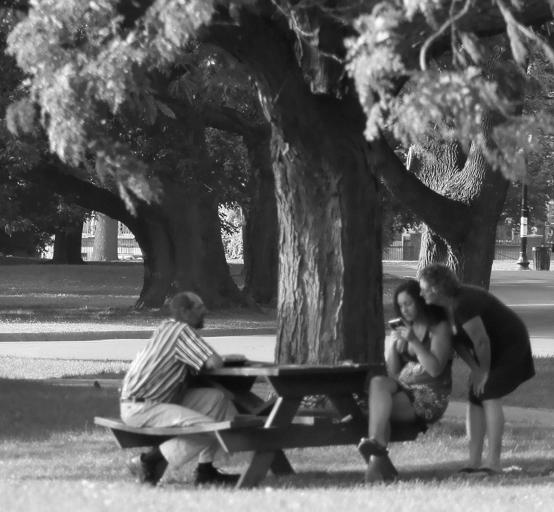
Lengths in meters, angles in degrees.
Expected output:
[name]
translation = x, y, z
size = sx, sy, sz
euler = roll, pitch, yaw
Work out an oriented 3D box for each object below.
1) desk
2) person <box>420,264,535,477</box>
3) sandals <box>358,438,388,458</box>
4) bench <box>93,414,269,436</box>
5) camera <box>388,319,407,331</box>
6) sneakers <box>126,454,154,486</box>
[desk]
translation = 0.119, 1.116, 10.008
size = 0.910, 0.779, 0.882
euler = 0, 0, -35
[person]
translation = 1.500, 0.831, 9.987
size = 0.853, 1.554, 0.514
euler = 0, 2, 8
[sandals]
translation = 0.705, 1.378, 9.700
size = 0.213, 0.174, 0.287
euler = 0, 1, 3
[bench]
translation = -0.740, 1.230, 9.835
size = 1.337, 0.165, 0.303
euler = 0, 1, 28
[camera]
translation = 0.891, 0.493, 9.915
size = 0.138, 0.101, 0.094
euler = -7, 16, -12
[sneakers]
translation = -1.025, 1.582, 10.174
size = 0.114, 0.160, 0.315
euler = -3, 21, -36
